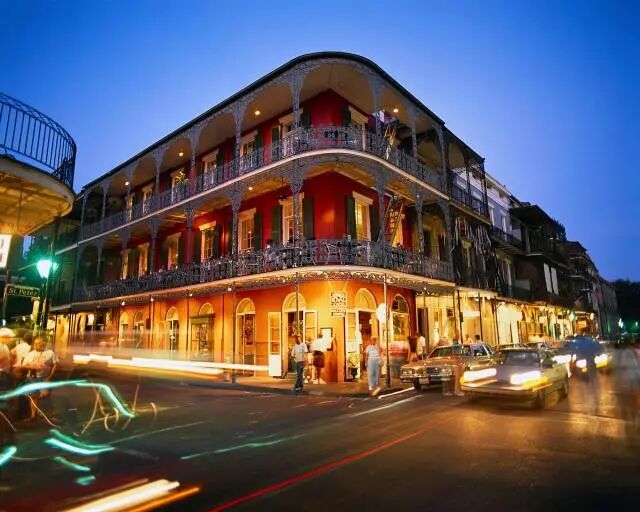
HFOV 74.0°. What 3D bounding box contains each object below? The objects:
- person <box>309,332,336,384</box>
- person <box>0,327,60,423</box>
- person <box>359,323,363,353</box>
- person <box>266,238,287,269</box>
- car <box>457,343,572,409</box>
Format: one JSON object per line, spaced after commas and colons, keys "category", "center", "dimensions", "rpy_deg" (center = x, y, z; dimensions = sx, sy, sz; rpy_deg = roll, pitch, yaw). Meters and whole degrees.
{"category": "person", "center": [0.024, 4.170, 17.603], "dimensions": [0.692, 2.129, 0.838], "rpy_deg": [-9, -12, 42]}
{"category": "person", "center": [-6.895, 2.920, 10.208], "dimensions": [0.869, 1.942, 1.476], "rpy_deg": [4, -10, -27]}
{"category": "person", "center": [1.849, 3.648, 18.859], "dimensions": [0.262, 1.285, 0.856], "rpy_deg": [-2, -9, 8]}
{"category": "person", "center": [-1.664, 0.107, 17.760], "dimensions": [0.821, 1.533, 1.528], "rpy_deg": [0, -4, -30]}
{"category": "car", "center": [5.555, 3.403, 11.886], "dimensions": [3.025, 1.531, 1.639], "rpy_deg": [5, -11, -33]}
